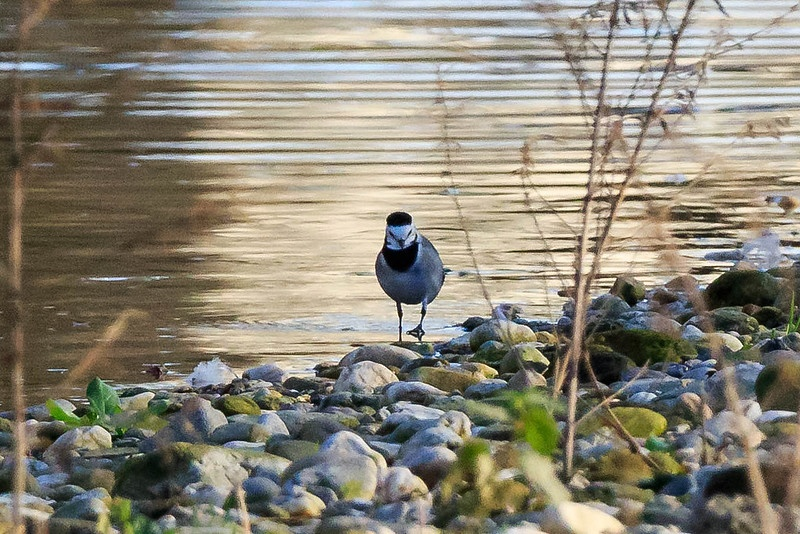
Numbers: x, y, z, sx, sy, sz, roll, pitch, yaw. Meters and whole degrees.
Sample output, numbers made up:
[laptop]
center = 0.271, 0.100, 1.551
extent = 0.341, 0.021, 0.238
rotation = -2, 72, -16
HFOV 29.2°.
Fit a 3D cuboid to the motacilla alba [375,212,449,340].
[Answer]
[motacilla alba]
center = 0.047, 0.090, 14.933
extent = 0.623, 1.254, 0.919
rotation = 2, -2, 6
